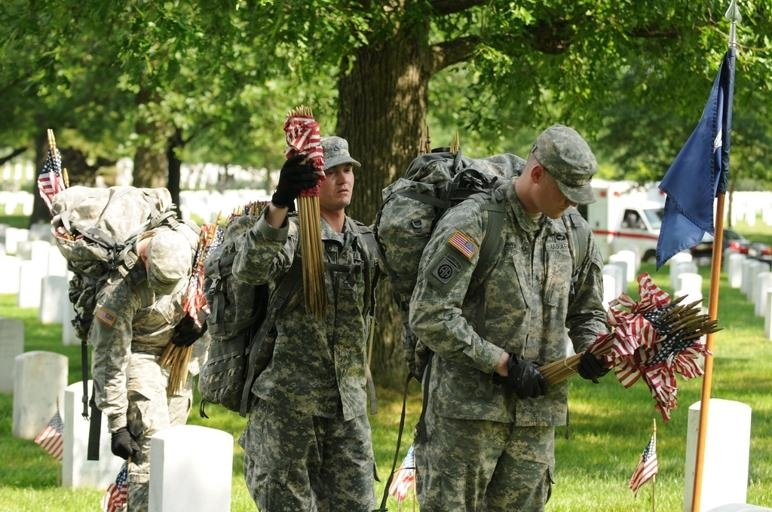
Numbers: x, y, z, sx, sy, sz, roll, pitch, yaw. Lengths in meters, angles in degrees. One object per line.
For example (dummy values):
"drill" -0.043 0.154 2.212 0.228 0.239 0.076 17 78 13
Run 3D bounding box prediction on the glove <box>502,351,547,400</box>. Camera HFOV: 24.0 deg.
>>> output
"glove" 2.001 1.692 25.580 0.576 0.594 0.154 2 -4 1

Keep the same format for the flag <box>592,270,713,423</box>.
"flag" 3.839 1.173 25.836 2.125 1.627 1.607 -11 -48 11

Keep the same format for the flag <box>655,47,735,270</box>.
"flag" 4.657 -1.474 27.132 1.064 3.299 0.548 1 -4 10

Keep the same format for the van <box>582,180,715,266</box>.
"van" 7.013 -0.890 49.704 2.320 2.604 4.700 -1 4 -31

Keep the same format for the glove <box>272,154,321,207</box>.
"glove" -1.265 -1.068 25.583 0.585 0.793 0.291 36 11 29

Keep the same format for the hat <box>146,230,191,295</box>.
"hat" -3.230 0.086 26.791 0.649 0.905 0.696 9 -11 -26

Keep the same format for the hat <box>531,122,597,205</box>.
"hat" 2.536 -1.324 25.614 0.911 1.148 0.220 2 -4 4
